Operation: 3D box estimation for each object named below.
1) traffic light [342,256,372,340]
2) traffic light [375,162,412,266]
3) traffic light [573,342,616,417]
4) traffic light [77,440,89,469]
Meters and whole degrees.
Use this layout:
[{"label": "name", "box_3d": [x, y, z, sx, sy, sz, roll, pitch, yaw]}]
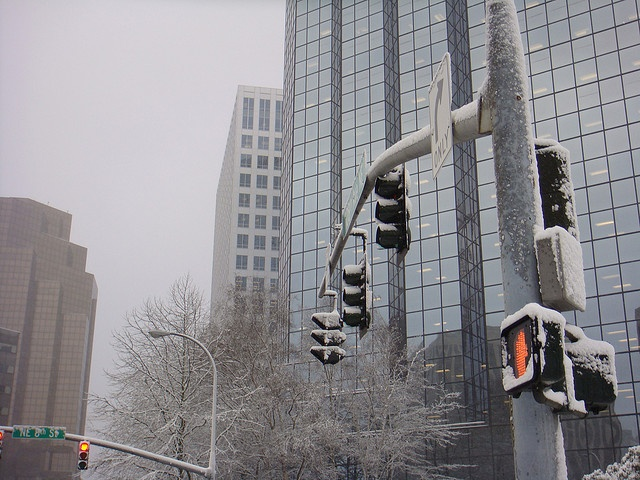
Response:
[{"label": "traffic light", "box_3d": [0.775, 1.171, 14.974, 0.594, 1.568, 0.868, -3, -19, 4]}, {"label": "traffic light", "box_3d": [1.354, -0.506, 13.188, 0.677, 2.125, 0.652, -4, -18, 6]}, {"label": "traffic light", "box_3d": [3.915, 1.926, 10.283, 0.757, 0.861, 0.267, 7, -20, -22]}, {"label": "traffic light", "box_3d": [-9.439, 8.561, 28.460, 0.367, 1.033, 1.138, 4, -22, -17]}]
